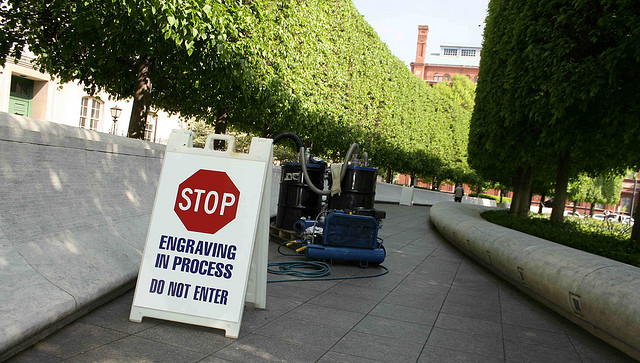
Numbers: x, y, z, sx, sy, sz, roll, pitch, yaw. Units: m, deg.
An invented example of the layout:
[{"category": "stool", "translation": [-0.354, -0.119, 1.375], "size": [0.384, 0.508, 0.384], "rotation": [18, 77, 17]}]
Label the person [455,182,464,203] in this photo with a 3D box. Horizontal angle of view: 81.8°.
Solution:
[{"category": "person", "translation": [13.749, 1.260, 36.413], "size": [0.621, 1.494, 2.099], "rotation": [10, 9, 18]}]
